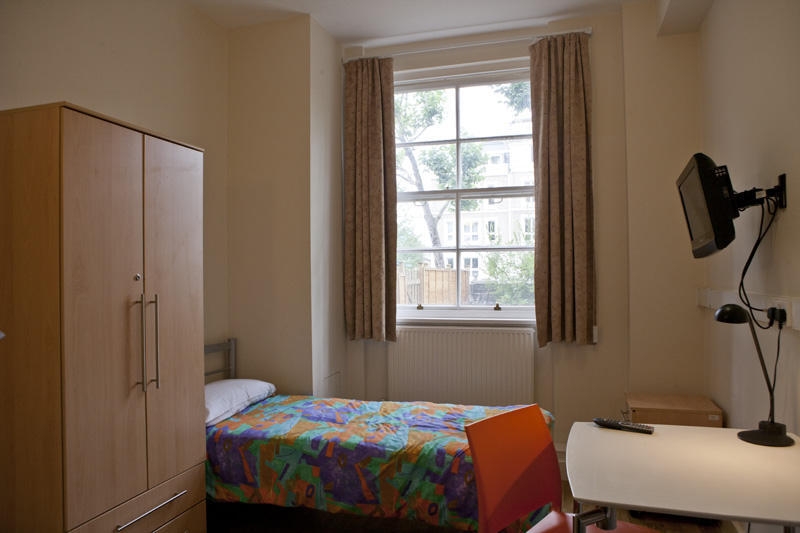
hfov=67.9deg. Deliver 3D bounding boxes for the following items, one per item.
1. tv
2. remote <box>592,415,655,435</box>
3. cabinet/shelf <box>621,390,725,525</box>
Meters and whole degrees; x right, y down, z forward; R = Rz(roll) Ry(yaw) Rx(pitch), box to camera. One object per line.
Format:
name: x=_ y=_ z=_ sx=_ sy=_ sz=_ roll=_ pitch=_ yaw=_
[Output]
tv: x=1.941 y=-0.376 z=3.716 sx=0.188 sy=0.576 sz=0.557 roll=-11 pitch=-11 yaw=13
remote: x=1.276 y=0.905 z=3.391 sx=0.228 sy=0.036 sz=0.122 roll=-1 pitch=-2 yaw=25
cabinet/shelf: x=1.936 y=1.363 z=4.535 sx=0.917 sy=0.955 sz=0.705 roll=-1 pitch=-5 yaw=22
